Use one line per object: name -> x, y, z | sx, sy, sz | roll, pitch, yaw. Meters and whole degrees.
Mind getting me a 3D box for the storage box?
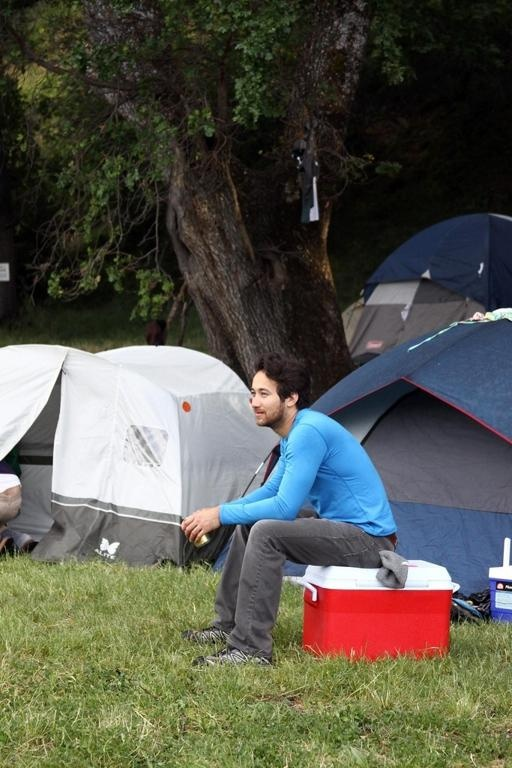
storage box -> 0.524, 1.008, 4.133 | 0.752, 0.394, 0.460 | 5, -3, -23
